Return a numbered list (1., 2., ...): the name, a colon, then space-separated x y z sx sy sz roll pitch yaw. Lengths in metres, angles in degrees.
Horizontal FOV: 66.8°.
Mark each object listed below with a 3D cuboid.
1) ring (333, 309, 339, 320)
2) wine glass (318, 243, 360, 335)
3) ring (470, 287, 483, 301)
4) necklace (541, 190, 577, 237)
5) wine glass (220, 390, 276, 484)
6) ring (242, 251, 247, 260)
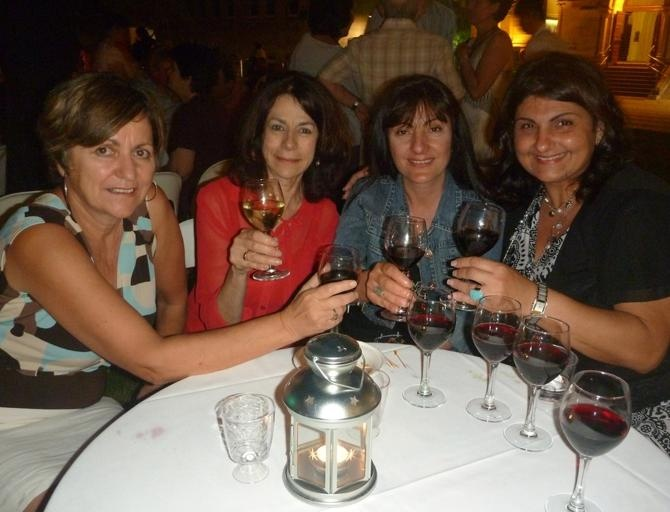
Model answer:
1. ring: 0.002 0.215 1.864 0.010 0.028 0.028 -8 47 -4
2. wine glass: 0.014 0.050 1.934 0.152 0.139 0.164 3 25 8
3. ring: 0.555 0.148 1.981 0.039 0.048 0.020 6 -4 22
4. necklace: 1.134 -0.202 2.529 0.076 0.201 0.202 9 -5 -37
5. wine glass: -0.236 0.550 1.561 0.201 0.226 0.189 0 16 -4
6. ring: -0.401 -0.001 2.255 0.008 0.031 0.033 26 40 12
